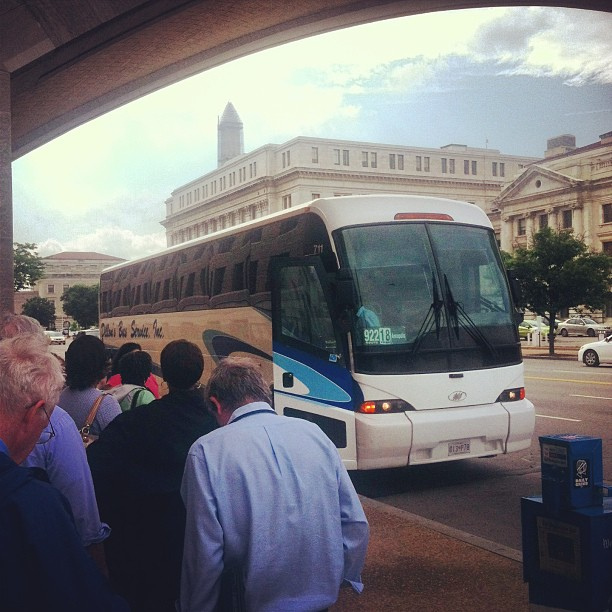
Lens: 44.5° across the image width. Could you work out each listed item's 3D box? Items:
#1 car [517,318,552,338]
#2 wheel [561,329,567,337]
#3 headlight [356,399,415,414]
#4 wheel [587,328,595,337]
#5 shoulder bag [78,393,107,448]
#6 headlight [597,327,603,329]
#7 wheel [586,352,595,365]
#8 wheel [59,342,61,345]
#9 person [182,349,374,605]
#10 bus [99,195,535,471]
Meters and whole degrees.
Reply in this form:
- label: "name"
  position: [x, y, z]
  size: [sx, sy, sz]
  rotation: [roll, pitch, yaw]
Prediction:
- label: "car"
  position: [12.001, 1.188, 39.299]
  size: [1.058, 0.809, 1.731]
  rotation: [-1, -7, -19]
- label: "wheel"
  position: [16.789, 1.722, 48.747]
  size: [0.403, 0.476, 0.390]
  rotation: [-5, -2, 0]
- label: "headlight"
  position: [0.785, 0.985, 7.397]
  size: [0.547, 0.132, 0.065]
  rotation: [-4, -2, -9]
- label: "wheel"
  position: [17.907, 1.600, 47.115]
  size: [0.246, 0.533, 0.685]
  rotation: [-4, -2, -10]
- label: "shoulder bag"
  position: [-1.336, 0.725, 4.702]
  size: [0.183, 0.265, 0.712]
  rotation: [-4, -2, -16]
- label: "headlight"
  position: [18.296, 1.348, 46.638]
  size: [0.198, 0.081, 0.388]
  rotation: [-3, -3, -39]
- label: "wheel"
  position: [9.240, 1.701, 24.341]
  size: [0.087, 0.408, 0.480]
  rotation: [-4, -2, -6]
- label: "wheel"
  position: [-18.053, 2.718, 54.757]
  size: [0.129, 0.121, 3.355]
  rotation: [-4, -2, -19]
- label: "person"
  position: [-0.154, 0.732, 3.107]
  size: [0.781, 0.873, 0.360]
  rotation: [-4, -1, -12]
- label: "bus"
  position: [-0.924, 0.327, 11.786]
  size: [2.742, 3.039, 9.587]
  rotation: [-1, -1, -31]
